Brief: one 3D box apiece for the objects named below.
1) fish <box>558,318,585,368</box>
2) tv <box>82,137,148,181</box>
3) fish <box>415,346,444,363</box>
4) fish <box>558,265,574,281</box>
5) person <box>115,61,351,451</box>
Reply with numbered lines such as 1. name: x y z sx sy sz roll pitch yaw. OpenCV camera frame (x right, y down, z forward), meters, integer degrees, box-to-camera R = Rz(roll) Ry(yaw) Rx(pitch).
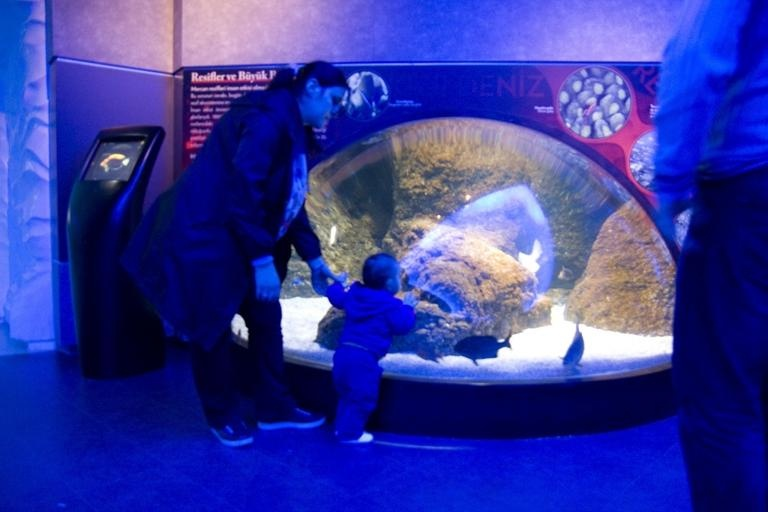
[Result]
1. fish: 1.036 0.490 3.614 0.189 0.166 0.367 11 10 8
2. tv: -1.759 -0.623 4.061 0.335 0.320 0.086 8 -19 16
3. fish: 0.254 0.545 3.456 0.143 0.060 0.033 6 13 10
4. fish: 1.105 0.110 3.776 0.097 0.089 0.025 1 12 -7
5. person: -0.751 -0.001 3.246 1.082 1.988 0.397 -3 13 -23
